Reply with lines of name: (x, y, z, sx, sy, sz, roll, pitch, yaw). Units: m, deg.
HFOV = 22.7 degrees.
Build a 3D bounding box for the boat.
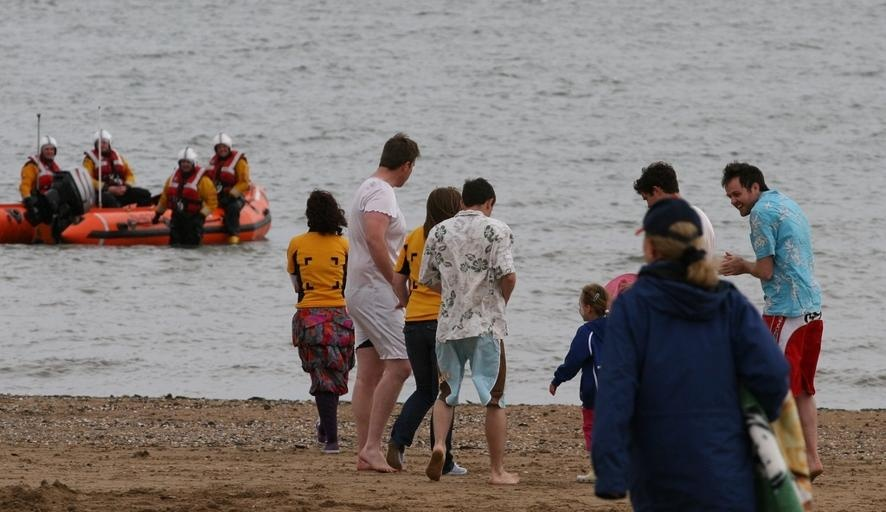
boat: (-13.829, -2.793, 100.439, 15.046, 4.048, 4.949, -2, 0, -8)
